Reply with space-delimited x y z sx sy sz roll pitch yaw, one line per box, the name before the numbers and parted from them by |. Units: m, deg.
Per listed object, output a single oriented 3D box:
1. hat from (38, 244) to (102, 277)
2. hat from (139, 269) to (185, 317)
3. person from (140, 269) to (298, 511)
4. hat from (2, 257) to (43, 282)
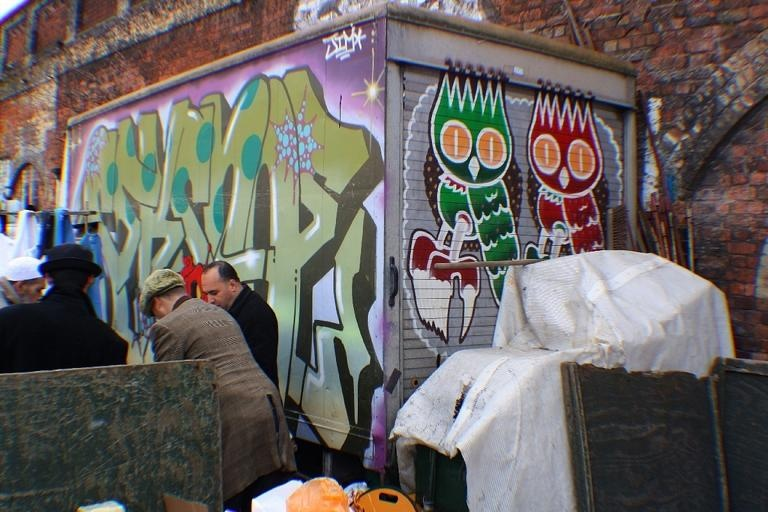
hat | -2.726 -0.021 5.641 0.403 0.208 0.486 3 1 21
hat | -1.984 0.319 5.905 0.389 0.424 0.334 -15 -12 11
person | -1.382 1.137 5.636 1.239 2.095 0.624 0 -5 -12
hat | -3.579 0.139 6.572 0.294 0.191 0.218 -10 6 1
